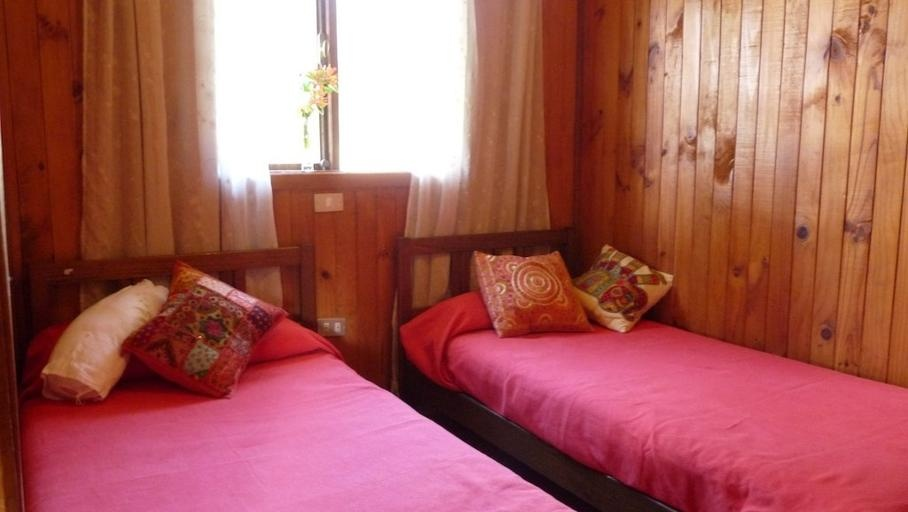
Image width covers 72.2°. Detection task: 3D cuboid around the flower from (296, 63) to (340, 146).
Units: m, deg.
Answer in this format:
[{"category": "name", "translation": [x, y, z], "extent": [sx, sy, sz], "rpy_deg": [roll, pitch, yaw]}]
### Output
[{"category": "flower", "translation": [-0.855, -0.941, 3.913], "extent": [0.314, 0.462, 0.154], "rpy_deg": [-4, 15, -8]}]

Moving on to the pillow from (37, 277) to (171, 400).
[{"category": "pillow", "translation": [-1.811, 0.365, 3.260], "extent": [0.423, 0.263, 0.792], "rpy_deg": [12, 42, -3]}]
